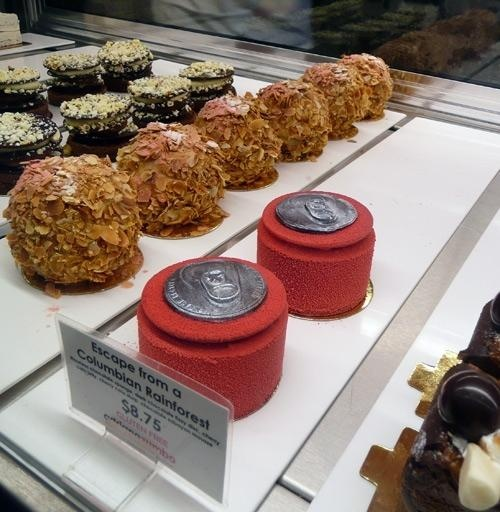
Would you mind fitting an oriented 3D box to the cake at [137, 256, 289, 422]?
[{"bbox_3d":[-0.075,0.184,1.203,0.429,0.261,0.364,-11,33,-20],"label":"cake"}]

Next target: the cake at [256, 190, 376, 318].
[{"bbox_3d":[0.210,-0.010,1.565,0.407,0.289,0.393,24,40,33],"label":"cake"}]
